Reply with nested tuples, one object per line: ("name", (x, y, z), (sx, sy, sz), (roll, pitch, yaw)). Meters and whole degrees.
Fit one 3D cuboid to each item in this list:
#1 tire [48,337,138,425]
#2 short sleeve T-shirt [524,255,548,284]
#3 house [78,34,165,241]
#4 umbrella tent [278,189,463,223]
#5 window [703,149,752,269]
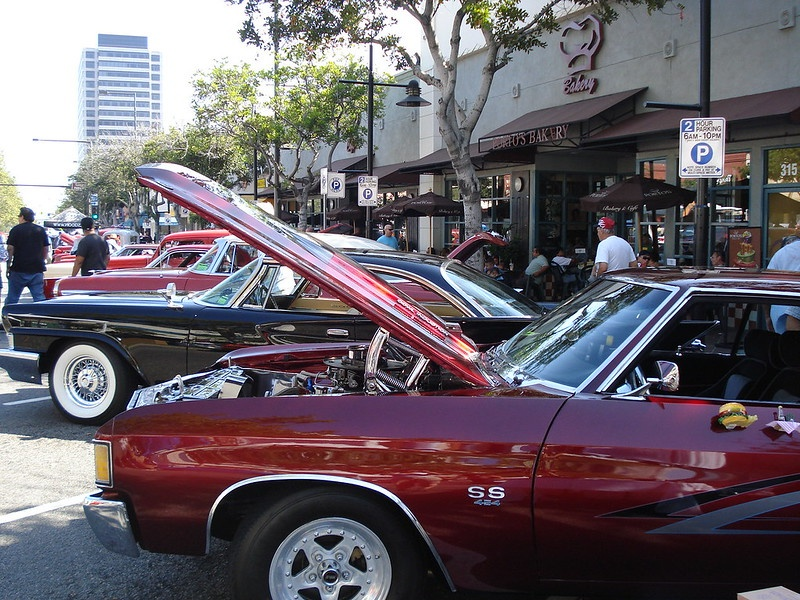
("tire", (-2.768, 0.716, 7.035), (0.936, 0.816, 0.316), (1, 6, 21))
("short sleeve T-shirt", (3.187, -0.692, 18.072), (0.391, 0.598, 0.656), (22, 10, -21))
("house", (-75.766, -50.664, 209.650), (15.825, 39.062, 12.864), (3, -6, -15))
("umbrella tent", (-0.284, -2.630, 22.313), (4.287, 0.762, 1.581), (3, 3, 38))
("window", (6.874, -2.016, 15.899), (0.082, 1.661, 0.810), (-7, -2, -41))
